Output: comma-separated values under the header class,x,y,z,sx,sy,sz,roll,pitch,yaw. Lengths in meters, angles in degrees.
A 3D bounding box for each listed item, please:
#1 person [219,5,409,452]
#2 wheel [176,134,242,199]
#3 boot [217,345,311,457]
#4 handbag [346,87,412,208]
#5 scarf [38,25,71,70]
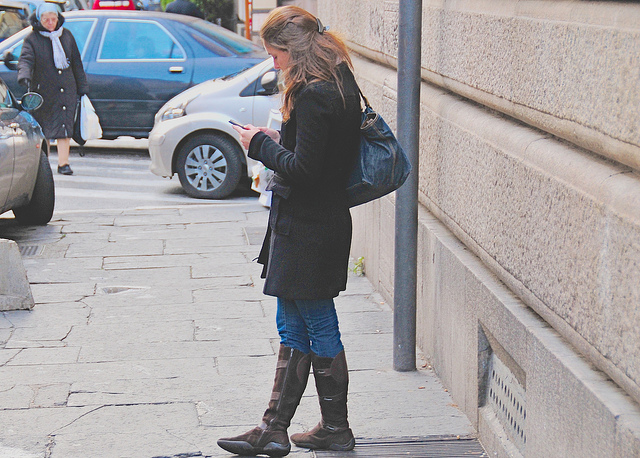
class,x,y,z,sx,sy,sz,roll,pitch,yaw
person,-0.018,0.075,4.362,0.814,2.281,0.520,1,22,1
wheel,-1.397,-0.760,10.702,0.857,0.783,0.269,6,6,24
boot,-0.278,0.925,4.500,0.516,0.591,0.198,-11,25,-28
handbag,0.312,-0.425,4.559,0.383,0.666,0.645,-12,-16,5
scarf,-3.591,-2.410,11.452,0.313,0.530,0.115,-13,-7,-5
